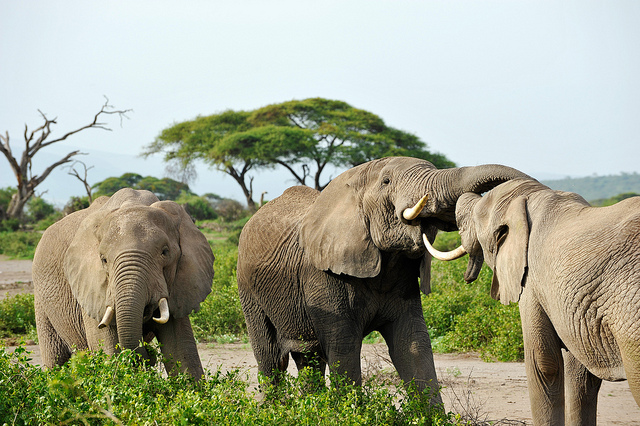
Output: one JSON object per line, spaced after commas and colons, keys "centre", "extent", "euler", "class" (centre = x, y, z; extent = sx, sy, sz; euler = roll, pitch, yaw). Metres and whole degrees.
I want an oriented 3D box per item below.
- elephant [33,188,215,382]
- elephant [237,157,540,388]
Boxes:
{"centre": [-2.082, 0.990, 10.121], "extent": [1.678, 2.507, 3.211], "euler": [-2, -4, -11], "class": "elephant"}
{"centre": [0.563, 0.808, 8.885], "extent": [1.373, 2.640, 4.326], "euler": [2, -14, -38], "class": "elephant"}
